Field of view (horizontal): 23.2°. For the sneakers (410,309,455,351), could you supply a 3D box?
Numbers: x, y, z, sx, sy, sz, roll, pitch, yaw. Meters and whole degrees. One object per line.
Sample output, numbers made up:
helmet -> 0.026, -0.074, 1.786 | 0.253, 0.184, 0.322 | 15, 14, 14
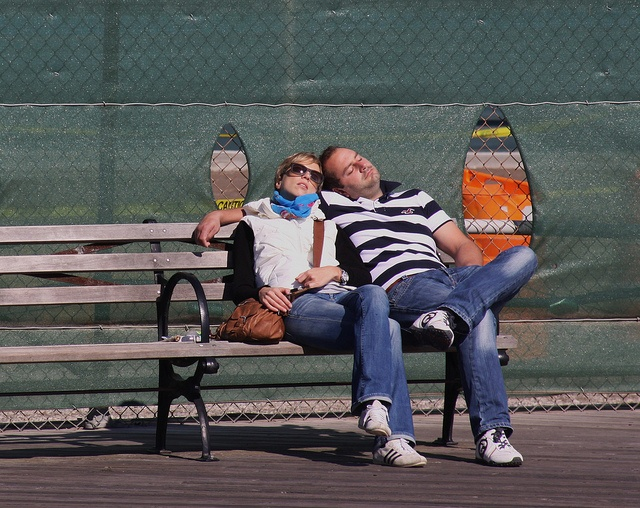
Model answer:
sneakers -> 0.659, 0.404, 9.321 | 0.296, 0.163, 0.110 | -7, -35, 31

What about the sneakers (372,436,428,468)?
sneakers -> 0.460, 1.168, 9.251 | 0.325, 0.130, 0.142 | -3, -8, 29

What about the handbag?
handbag -> -0.379, 0.433, 9.522 | 0.459, 0.291, 0.241 | -6, -33, 31

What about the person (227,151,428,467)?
person -> -0.019, 0.288, 9.573 | 0.744, 2.023, 1.058 | 4, -11, -33

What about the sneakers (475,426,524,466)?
sneakers -> 1.069, 1.130, 9.338 | 0.214, 0.168, 0.433 | -6, 8, -24

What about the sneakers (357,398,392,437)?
sneakers -> 0.339, 0.963, 9.129 | 0.121, 0.120, 0.289 | 17, -11, -15
